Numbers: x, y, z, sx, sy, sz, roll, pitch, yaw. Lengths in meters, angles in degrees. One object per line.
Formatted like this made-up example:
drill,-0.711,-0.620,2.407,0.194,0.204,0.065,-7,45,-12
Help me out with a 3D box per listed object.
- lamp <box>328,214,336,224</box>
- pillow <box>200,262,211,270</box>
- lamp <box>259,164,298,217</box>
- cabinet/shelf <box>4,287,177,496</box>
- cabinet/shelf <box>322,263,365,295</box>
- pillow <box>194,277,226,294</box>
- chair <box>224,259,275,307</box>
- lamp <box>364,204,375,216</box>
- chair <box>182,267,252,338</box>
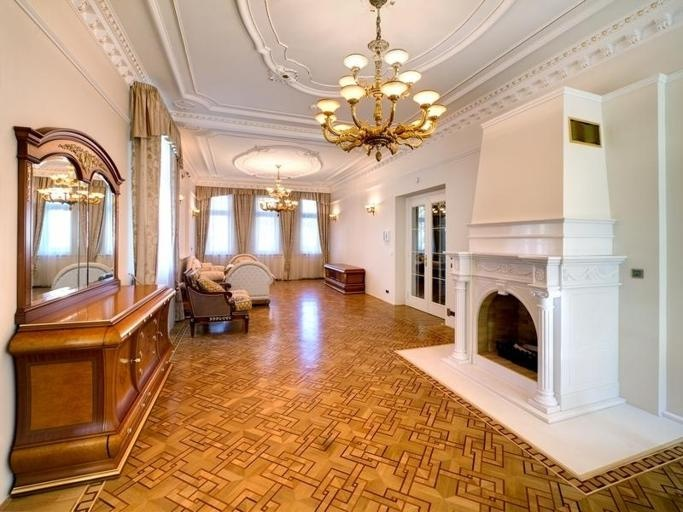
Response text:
lamp,-0.296,-1.218,14.239,0.221,0.163,0.311,4,-6,-11
pillow,-3.430,0.278,11.047,0.227,0.070,0.218,3,9,2
lamp,-1.748,-1.847,11.966,1.090,1.509,1.083,1,-3,15
cabinet/shelf,-2.351,0.606,4.470,1.175,1.582,3.051,0,2,-11
cabinet/shelf,0.104,0.602,11.871,0.573,0.684,1.803,-2,6,-18
pillow,-2.112,0.461,6.993,0.436,0.236,0.251,-2,6,-20
chair,-1.962,0.515,9.304,0.831,0.708,1.231,1,-1,-15
lamp,0.700,-1.113,10.650,0.213,0.324,0.318,3,-4,-27
chair,-2.106,0.746,7.408,0.990,1.048,1.059,-2,6,-15
